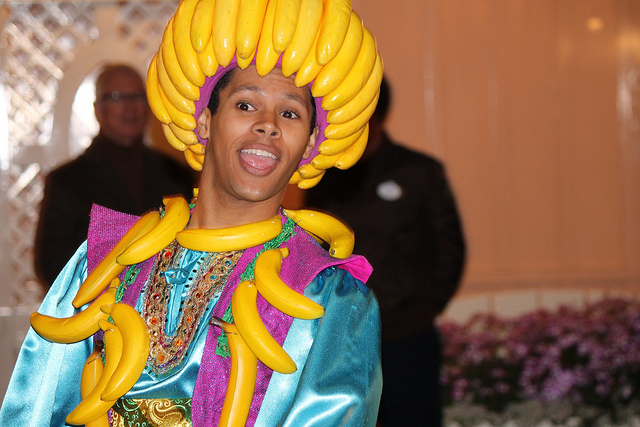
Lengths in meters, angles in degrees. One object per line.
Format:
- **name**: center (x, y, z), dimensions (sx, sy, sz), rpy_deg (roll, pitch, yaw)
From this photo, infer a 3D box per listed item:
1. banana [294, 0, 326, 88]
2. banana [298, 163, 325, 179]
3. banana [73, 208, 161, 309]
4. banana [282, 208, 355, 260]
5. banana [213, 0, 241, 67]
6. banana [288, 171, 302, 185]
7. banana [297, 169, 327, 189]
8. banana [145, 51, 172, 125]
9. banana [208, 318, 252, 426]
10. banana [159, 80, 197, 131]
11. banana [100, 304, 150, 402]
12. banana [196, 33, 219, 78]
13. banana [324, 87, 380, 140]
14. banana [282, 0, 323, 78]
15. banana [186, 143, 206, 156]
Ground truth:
- **banana**: center (-0.016, -0.871, 4.059), dimensions (0.098, 0.410, 0.122), rpy_deg (16, -2, -12)
- **banana**: center (-0.057, -0.236, 4.298), dimensions (0.156, 0.059, 0.109), rpy_deg (6, 31, -16)
- **banana**: center (-1.027, 0.243, 4.114), dimensions (0.100, 0.522, 0.129), rpy_deg (34, -12, 22)
- **banana**: center (0.031, 0.084, 4.248), dimensions (0.422, 0.134, 0.228), rpy_deg (33, 35, 22)
- **banana**: center (-0.467, -0.936, 4.067), dimensions (0.084, 0.355, 0.083), rpy_deg (9, -5, -45)
- **banana**: center (-0.141, -0.208, 4.320), dimensions (0.041, 0.082, 0.026), rpy_deg (20, 13, -7)
- **banana**: center (-0.047, -0.202, 4.463), dimensions (0.151, 0.089, 0.042), rpy_deg (-20, -35, 18)
- **banana**: center (-0.862, -0.641, 4.289), dimensions (0.141, 0.484, 0.095), rpy_deg (-7, -6, 11)
- **banana**: center (-0.437, 0.773, 3.892), dimensions (0.218, 0.506, 0.055), rpy_deg (3, -6, -6)
- **banana**: center (-0.733, -0.589, 4.162), dimensions (0.061, 0.250, 0.082), rpy_deg (-34, -13, 12)
- **banana**: center (-0.948, 0.681, 3.932), dimensions (0.203, 0.466, 0.055), rpy_deg (2, -6, 7)
- **banana**: center (-0.566, -0.815, 4.051), dimensions (0.087, 0.204, 0.069), rpy_deg (-2, 17, 10)
- **banana**: center (0.160, -0.476, 4.201), dimensions (0.087, 0.398, 0.222), rpy_deg (39, 18, -24)
- **banana**: center (-0.085, -0.909, 4.038), dimensions (0.112, 0.503, 0.146), rpy_deg (16, -5, -20)
- **banana**: center (-0.657, -0.358, 4.269), dimensions (0.075, 0.027, 0.054), rpy_deg (8, 15, -7)
